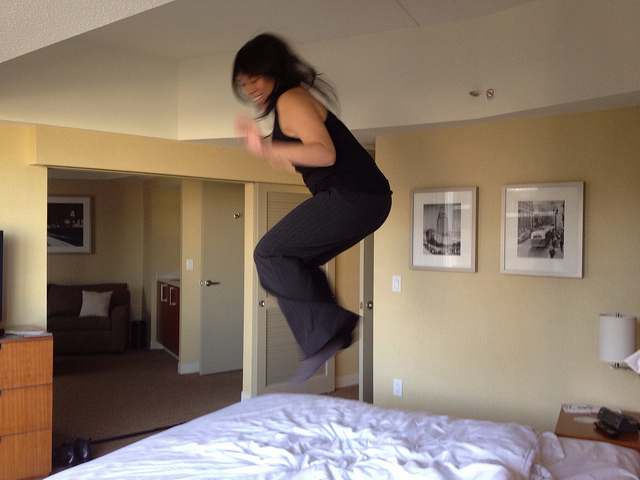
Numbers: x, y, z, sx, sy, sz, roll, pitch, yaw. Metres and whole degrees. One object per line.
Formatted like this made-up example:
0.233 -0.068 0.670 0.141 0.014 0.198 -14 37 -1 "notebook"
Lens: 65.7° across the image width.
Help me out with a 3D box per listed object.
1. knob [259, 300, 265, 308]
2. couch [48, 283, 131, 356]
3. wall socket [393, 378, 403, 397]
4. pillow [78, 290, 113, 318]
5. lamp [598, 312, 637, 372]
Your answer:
-0.613 0.674 5.215 0.018 0.083 0.068 0 0 45 "knob"
-3.446 1.153 7.143 1.098 0.879 0.638 4 -1 -28 "couch"
0.670 1.276 4.273 0.082 0.154 0.015 0 0 32 "wall socket"
-3.255 0.930 7.178 0.406 0.343 0.322 0 0 -20 "pillow"
1.972 0.698 3.293 0.223 0.409 0.307 0 0 33 "lamp"
